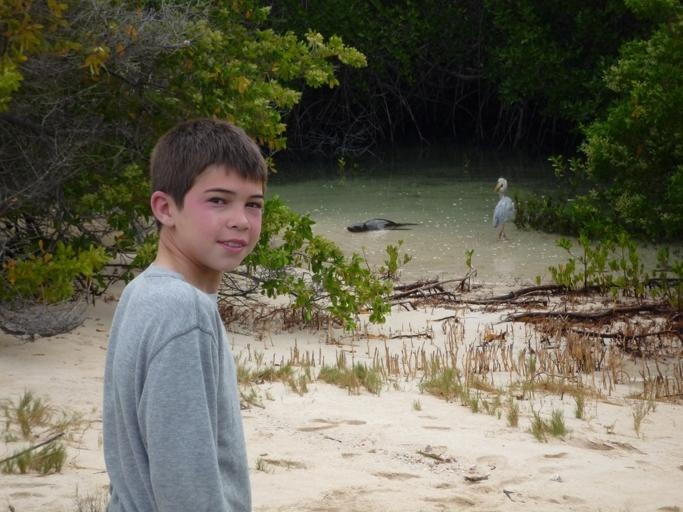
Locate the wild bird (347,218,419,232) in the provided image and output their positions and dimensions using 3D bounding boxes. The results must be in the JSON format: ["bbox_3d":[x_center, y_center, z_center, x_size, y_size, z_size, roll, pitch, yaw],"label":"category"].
[{"bbox_3d":[0.850,-0.672,19.273,1.577,0.226,0.749,-4,15,-24],"label":"wild bird"}]
